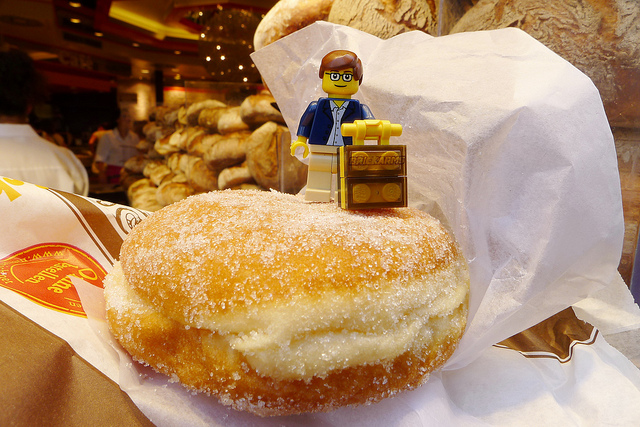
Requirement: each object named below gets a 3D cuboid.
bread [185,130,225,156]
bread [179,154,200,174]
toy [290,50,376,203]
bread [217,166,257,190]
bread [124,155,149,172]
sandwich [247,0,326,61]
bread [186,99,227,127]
[{"bbox_3d":[-0.647,-0.388,2.921,0.161,0.082,0.164,-10,5,-38],"label":"bread"},{"bbox_3d":[-0.826,-0.322,3.249,0.040,0.146,0.142,14,16,29],"label":"bread"},{"bbox_3d":[0.035,-0.247,1.493,0.247,0.319,0.287,-6,36,-2],"label":"toy"},{"bbox_3d":[-0.450,-0.187,2.747,0.153,0.062,0.159,-3,1,34],"label":"bread"},{"bbox_3d":[-1.248,-0.352,3.543,0.105,0.040,0.120,7,27,14],"label":"bread"},{"bbox_3d":[-0.124,-0.661,1.876,0.289,0.088,0.239,-46,4,-4],"label":"sandwich"},{"bbox_3d":[-0.652,-0.571,2.935,0.143,0.077,0.151,-11,-13,24],"label":"bread"}]
